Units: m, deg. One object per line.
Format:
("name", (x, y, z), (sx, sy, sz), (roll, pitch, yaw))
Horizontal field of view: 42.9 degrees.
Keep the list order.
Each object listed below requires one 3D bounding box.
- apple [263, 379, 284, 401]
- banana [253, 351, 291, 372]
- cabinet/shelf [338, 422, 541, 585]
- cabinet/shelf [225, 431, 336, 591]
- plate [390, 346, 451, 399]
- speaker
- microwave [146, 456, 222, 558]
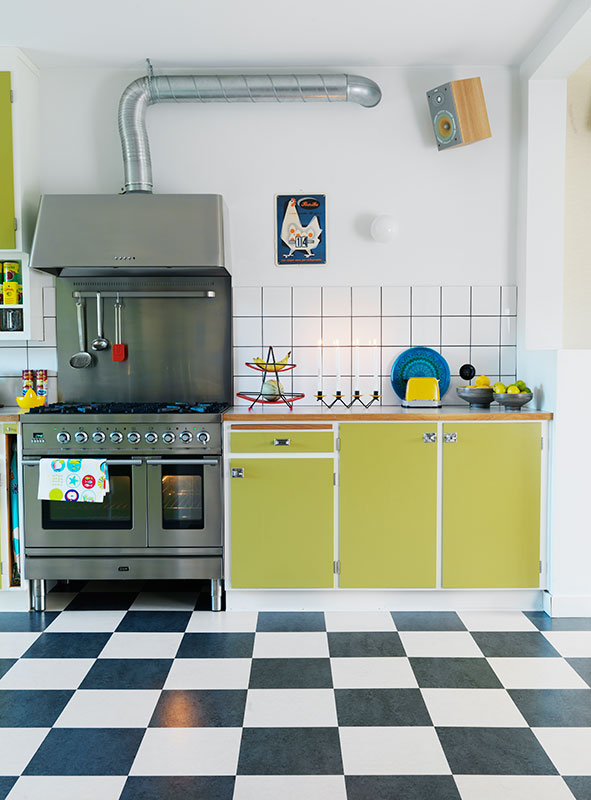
("apple", (-0.103, -0.037, 3.442), (0.090, 0.097, 0.180), (-1, 7, -2))
("banana", (-0.105, -0.166, 3.516), (0.131, 0.061, 0.128), (0, 1, -14))
("cabinet/shelf", (0.542, 0.415, 3.382), (1.119, 0.895, 0.609), (0, -1, 1))
("cabinet/shelf", (-0.051, 0.454, 3.226), (0.591, 0.845, 0.575), (0, -3, 2))
("plate", (0.601, -0.131, 3.590), (0.294, 0.251, 0.179), (0, 7, 5))
("speaker", (0.742, -1.315, 3.438), (0.269, 0.287, 0.124), (1, 7, 14))
("microwave", (-0.448, 0.439, 3.122), (0.374, 0.514, 0.360), (-1, -4, 2))
